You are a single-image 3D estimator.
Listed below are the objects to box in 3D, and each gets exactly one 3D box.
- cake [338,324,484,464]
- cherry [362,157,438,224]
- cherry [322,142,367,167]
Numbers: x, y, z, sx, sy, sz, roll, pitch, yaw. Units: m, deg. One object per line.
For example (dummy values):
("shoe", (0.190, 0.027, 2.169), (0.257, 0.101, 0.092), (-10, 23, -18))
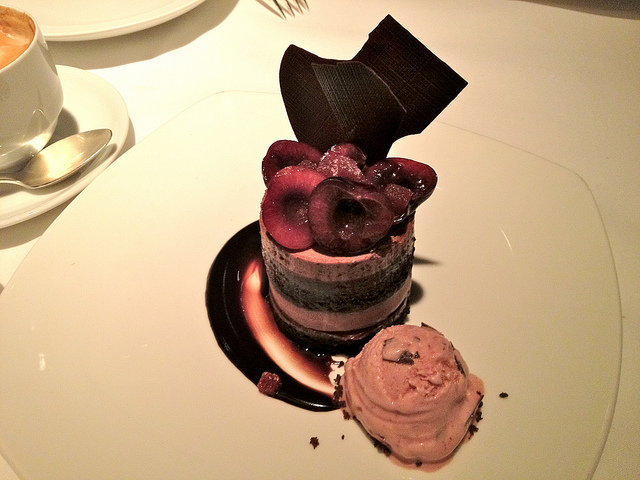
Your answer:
("cake", (0.365, 0.524, 2.179), (0.538, 0.191, 0.549), (13, 52, 14))
("cherry", (0.314, -0.221, 2.060), (0.275, 0.230, 0.199), (2, 39, -4))
("cherry", (0.114, -0.347, 2.145), (0.110, 0.064, 0.115), (-18, 42, -25))
